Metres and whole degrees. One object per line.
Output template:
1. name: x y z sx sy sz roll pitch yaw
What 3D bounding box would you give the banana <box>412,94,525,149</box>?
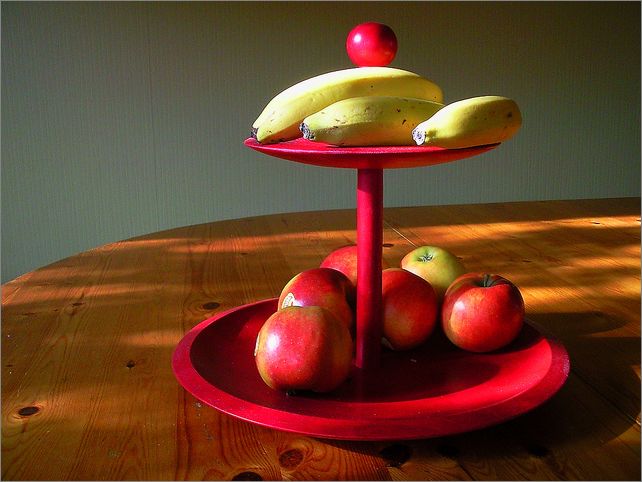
1. banana: 0.174 -0.142 0.598 0.158 0.065 0.053 -9 10 -35

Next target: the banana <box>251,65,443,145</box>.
1. banana: 0.050 -0.180 0.701 0.292 0.103 0.096 -7 34 -11

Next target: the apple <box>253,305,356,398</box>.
1. apple: -0.020 0.143 0.666 0.123 0.121 0.141 -2 -12 22

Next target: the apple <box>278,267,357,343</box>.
1. apple: -0.004 0.074 0.717 0.087 0.109 0.099 2 5 10

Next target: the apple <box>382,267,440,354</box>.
1. apple: 0.128 0.103 0.730 0.077 0.110 0.053 -1 8 10

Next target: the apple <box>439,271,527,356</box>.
1. apple: 0.240 0.102 0.750 0.114 0.115 0.111 -18 17 -32

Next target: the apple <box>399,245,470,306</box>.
1. apple: 0.187 0.040 0.834 0.084 0.097 0.089 -10 25 -7
